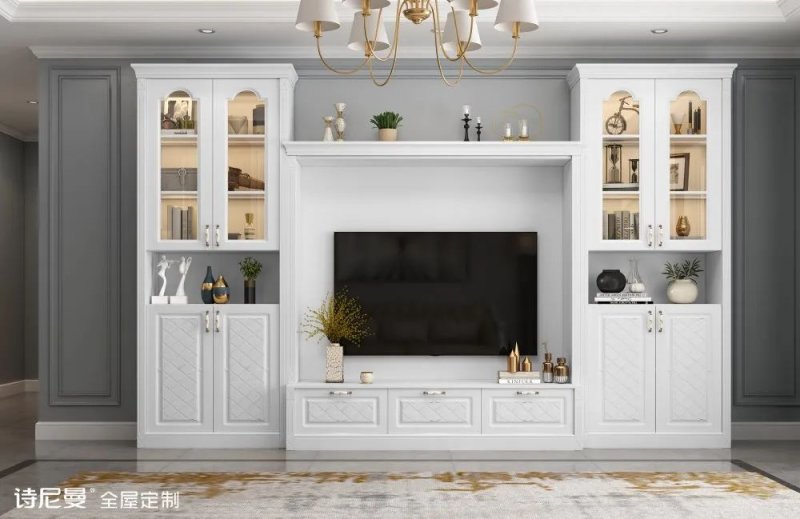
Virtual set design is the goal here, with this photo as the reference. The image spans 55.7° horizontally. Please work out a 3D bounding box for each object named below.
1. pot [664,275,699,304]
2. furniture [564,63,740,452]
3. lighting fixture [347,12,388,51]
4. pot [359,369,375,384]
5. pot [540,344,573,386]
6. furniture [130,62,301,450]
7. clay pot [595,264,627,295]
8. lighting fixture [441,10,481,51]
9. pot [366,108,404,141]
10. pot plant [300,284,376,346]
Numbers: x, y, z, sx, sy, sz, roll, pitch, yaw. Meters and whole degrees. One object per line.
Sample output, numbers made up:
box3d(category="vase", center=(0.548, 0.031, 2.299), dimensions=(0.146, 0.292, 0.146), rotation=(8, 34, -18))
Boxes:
box3d(category="pot", center=(2.769, 0.303, 7.459), dimensions=(0.273, 0.210, 0.259), rotation=(0, 2, 0))
box3d(category="furniture", center=(2.456, -0.048, 7.352), dimensions=(1.500, 3.689, 0.775), rotation=(1, 8, 8))
box3d(category="lighting fixture", center=(-0.253, -1.737, 5.746), dimensions=(0.338, 0.235, 0.324), rotation=(0, 1, 10))
box3d(category="pot", center=(-0.336, 1.146, 7.418), dimensions=(0.124, 0.098, 0.121), rotation=(0, -3, 0))
box3d(category="pot", center=(1.521, 1.055, 7.409), dimensions=(0.264, 0.253, 0.259), rotation=(0, 8, 0))
box3d(category="furniture", center=(-1.835, -0.050, 7.385), dimensions=(1.476, 3.690, 0.702), rotation=(-1, 8, -3))
box3d(category="clay pot", center=(2.066, 0.223, 7.509), dimensions=(0.267, 0.227, 0.230), rotation=(-2, 5, -22))
box3d(category="lighting fixture", center=(0.455, -1.757, 5.777), dimensions=(0.299, 0.296, 0.412), rotation=(1, 8, 9))
box3d(category="pot", center=(-0.146, -1.366, 7.671), dimensions=(0.332, 0.316, 0.341), rotation=(0, 8, 0))
box3d(category="pot plant", center=(-0.656, 0.569, 7.682), dimensions=(0.636, 0.386, 0.623), rotation=(3, 3, 24))
